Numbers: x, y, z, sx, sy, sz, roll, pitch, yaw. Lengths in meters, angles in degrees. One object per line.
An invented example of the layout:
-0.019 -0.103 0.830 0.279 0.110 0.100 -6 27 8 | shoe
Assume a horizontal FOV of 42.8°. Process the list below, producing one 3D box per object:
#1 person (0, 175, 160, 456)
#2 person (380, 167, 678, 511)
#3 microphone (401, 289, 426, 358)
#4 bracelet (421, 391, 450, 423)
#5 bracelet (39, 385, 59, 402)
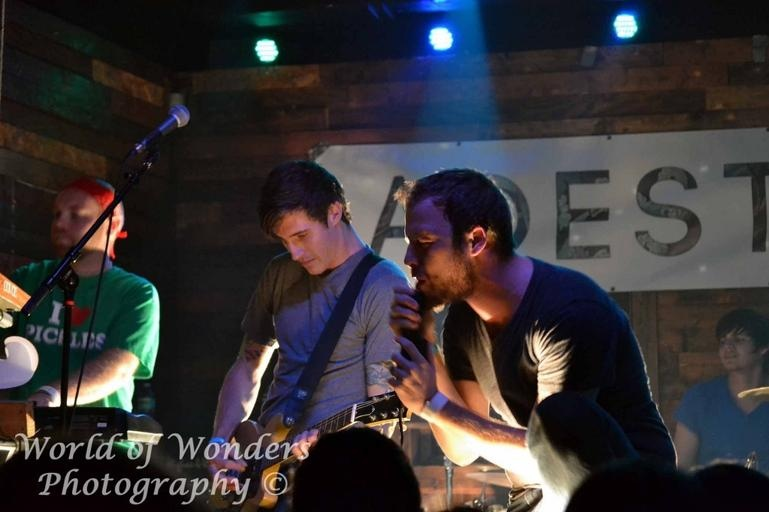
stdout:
-1.897 0.187 6.044 0.916 1.476 0.794 1 -10 5 | person
0.731 0.433 5.258 1.296 1.836 0.550 -2 -11 18 | person
0.182 0.399 5.271 0.095 0.429 0.167 -6 14 -20 | microphone
0.268 0.799 5.228 0.145 0.159 0.102 2 -10 -1 | bracelet
-1.920 0.777 5.652 0.086 0.086 0.061 6 34 35 | bracelet
